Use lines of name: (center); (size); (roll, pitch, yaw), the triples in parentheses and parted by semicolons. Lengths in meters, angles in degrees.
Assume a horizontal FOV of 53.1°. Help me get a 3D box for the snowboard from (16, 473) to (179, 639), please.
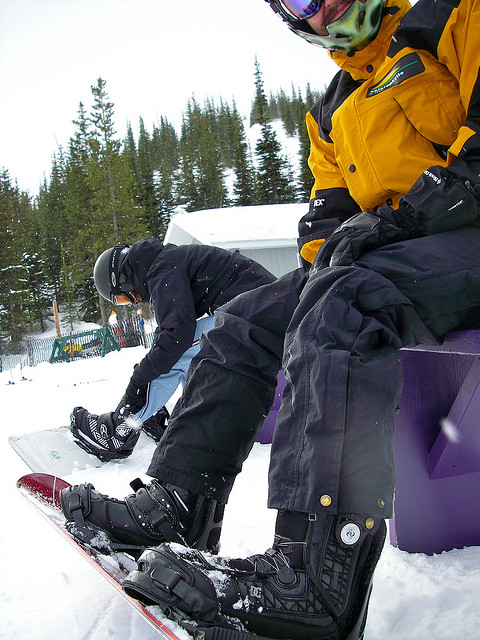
snowboard: (-0.475, 0.620, 1.467); (0.253, 0.102, 0.967); (-14, 20, -37)
